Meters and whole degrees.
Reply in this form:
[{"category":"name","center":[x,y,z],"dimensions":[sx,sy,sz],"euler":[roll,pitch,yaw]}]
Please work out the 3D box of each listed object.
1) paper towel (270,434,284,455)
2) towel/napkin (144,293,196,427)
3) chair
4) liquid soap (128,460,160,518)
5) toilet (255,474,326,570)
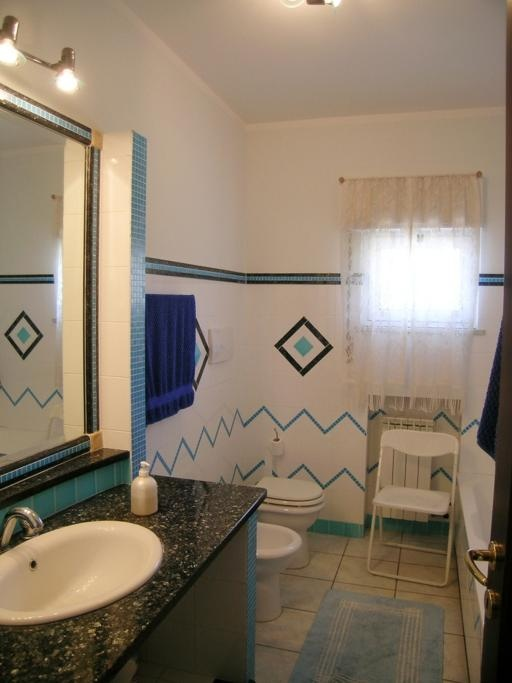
[{"category":"paper towel","center":[0.123,0.637,3.251],"dimensions":[0.069,0.114,0.084],"euler":[-2,5,-10]},{"category":"towel/napkin","center":[-0.384,0.045,2.167],"dimensions":[0.041,0.508,0.415],"euler":[-1,4,28]},{"category":"chair","center":[0.863,0.866,2.909],"dimensions":[0.478,0.727,0.684],"euler":[1,2,24]},{"category":"liquid soap","center":[-0.324,0.417,1.515],"dimensions":[0.076,0.145,0.107],"euler":[0,2,9]},{"category":"toilet","center":[0.229,0.979,2.787],"dimensions":[0.191,0.373,0.333],"euler":[6,-22,-4]}]
